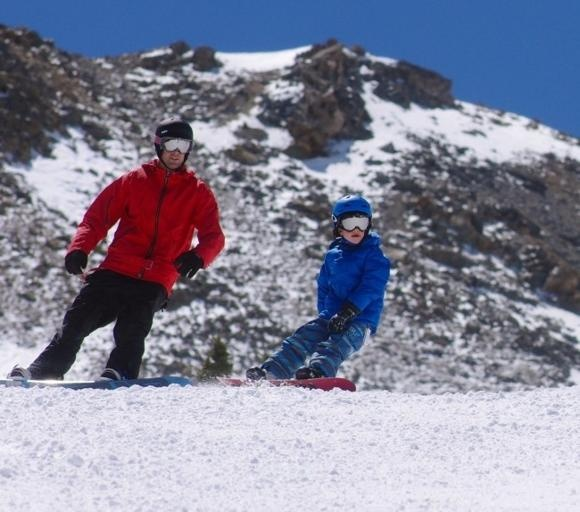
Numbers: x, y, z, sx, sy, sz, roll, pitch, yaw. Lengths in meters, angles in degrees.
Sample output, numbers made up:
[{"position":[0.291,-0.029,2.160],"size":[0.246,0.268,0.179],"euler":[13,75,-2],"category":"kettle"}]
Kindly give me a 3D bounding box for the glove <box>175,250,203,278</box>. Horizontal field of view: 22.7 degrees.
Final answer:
[{"position":[-2.121,0.178,30.478],"size":[0.611,0.611,0.279],"euler":[16,14,1],"category":"glove"}]

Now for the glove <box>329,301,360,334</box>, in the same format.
[{"position":[1.152,1.314,31.329],"size":[0.470,0.764,0.271],"euler":[47,-7,-9],"category":"glove"}]

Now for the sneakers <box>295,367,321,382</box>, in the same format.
[{"position":[0.393,2.524,30.834],"size":[0.475,0.170,0.251],"euler":[3,-5,-7],"category":"sneakers"}]
